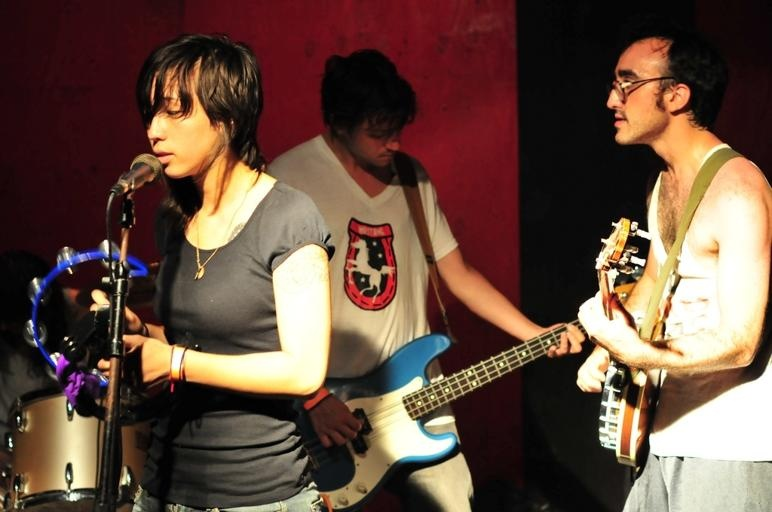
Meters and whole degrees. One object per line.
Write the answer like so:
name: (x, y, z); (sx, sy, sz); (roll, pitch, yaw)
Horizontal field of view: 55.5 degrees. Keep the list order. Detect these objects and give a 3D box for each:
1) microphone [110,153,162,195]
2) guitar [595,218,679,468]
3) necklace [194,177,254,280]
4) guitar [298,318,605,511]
microphone: (-0.841, -0.281, 2.541); (0.080, 0.078, 0.257); (31, 29, 3)
guitar: (1.047, 0.364, 3.039); (0.250, 0.455, 1.148); (10, -38, 26)
necklace: (-0.548, -0.089, 2.522); (0.071, 0.399, 0.057); (40, -12, -7)
guitar: (0.361, 0.805, 3.670); (0.387, 1.140, 0.162); (58, -13, 1)
